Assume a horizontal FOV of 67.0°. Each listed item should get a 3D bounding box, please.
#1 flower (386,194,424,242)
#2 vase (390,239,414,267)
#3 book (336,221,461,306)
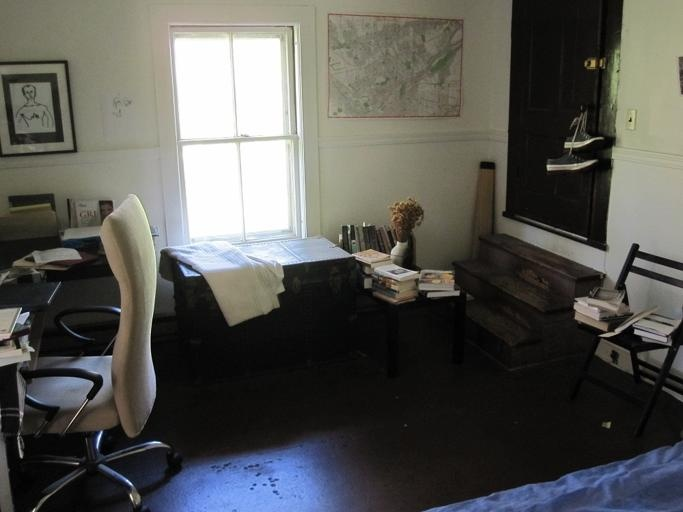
[{"bbox_3d":[0.494,-0.325,4.270,0.336,0.410,0.328,5,10,38],"label":"flower"},{"bbox_3d":[0.496,-0.026,4.183,0.197,0.287,0.203,1,5,8],"label":"vase"},{"bbox_3d":[0.374,0.104,4.146,0.600,0.369,0.849,-3,18,-20],"label":"book"}]
